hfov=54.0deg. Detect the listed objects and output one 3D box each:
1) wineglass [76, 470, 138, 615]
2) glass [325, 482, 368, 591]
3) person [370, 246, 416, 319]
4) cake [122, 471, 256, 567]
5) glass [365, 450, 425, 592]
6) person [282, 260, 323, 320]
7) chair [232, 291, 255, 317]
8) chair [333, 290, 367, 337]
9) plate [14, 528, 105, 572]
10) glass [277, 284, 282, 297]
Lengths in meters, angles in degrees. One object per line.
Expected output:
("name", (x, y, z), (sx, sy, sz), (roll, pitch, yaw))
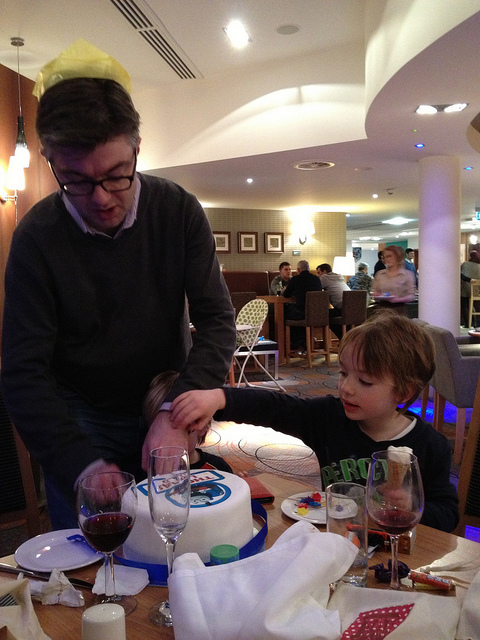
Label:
("wineglass", (-0.186, 0.321, 0.676), (0.080, 0.180, 0.077), (-1, 5, -27))
("glass", (0.155, 0.312, 0.686), (0.061, 0.150, 0.061), (1, -5, -9))
("person", (2.228, -0.539, 6.692), (0.577, 1.002, 0.813), (-2, 6, 6))
("cake", (-0.081, 0.309, 0.718), (0.184, 0.099, 0.188), (-1, 6, 0))
("glass", (0.239, 0.304, 0.722), (0.083, 0.182, 0.117), (0, 7, 19))
("person", (0.999, -0.483, 7.655), (0.605, 0.926, 0.689), (-4, 6, -11))
("chair", (0.035, -0.235, 7.240), (0.326, 0.586, 0.352), (1, 11, 1))
("chair", (1.901, -0.124, 7.695), (0.471, 0.908, 0.524), (-1, -18, 21))
("plate", (-0.304, 0.410, 0.838), (0.136, 0.015, 0.140), (6, -2, -29))
("glass", (0.828, -0.620, 9.656), (0.097, 0.201, 0.156), (-1, 6, 12))
